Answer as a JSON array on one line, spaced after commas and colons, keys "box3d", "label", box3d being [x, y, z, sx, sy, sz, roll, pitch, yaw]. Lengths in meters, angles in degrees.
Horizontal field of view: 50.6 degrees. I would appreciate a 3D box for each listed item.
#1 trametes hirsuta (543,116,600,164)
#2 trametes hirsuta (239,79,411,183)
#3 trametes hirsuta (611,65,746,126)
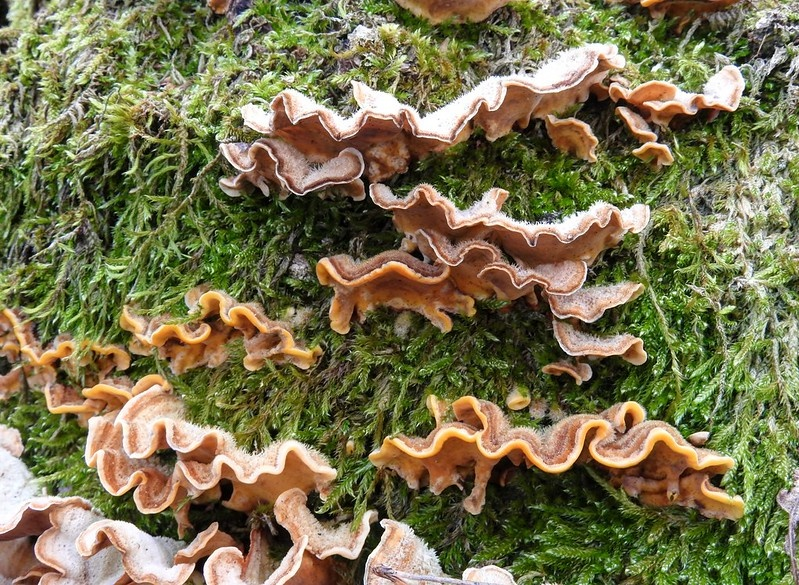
[{"box3d": [1.110, -1.061, 5.711, 0.248, 0.095, 0.440, -26, 54, 4], "label": "trametes hirsuta"}, {"box3d": [-0.361, -0.999, 5.288, 0.662, 0.279, 0.684, 24, 44, 16], "label": "trametes hirsuta"}, {"box3d": [1.835, -1.276, 5.593, 0.877, 0.285, 0.318, -7, 60, -6], "label": "trametes hirsuta"}]
